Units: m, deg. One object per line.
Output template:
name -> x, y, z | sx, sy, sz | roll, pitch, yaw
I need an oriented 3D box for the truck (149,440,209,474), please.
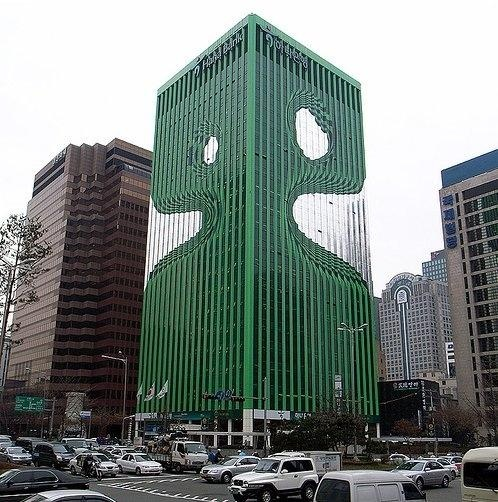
truck -> -5.413, 16.179, 42.541 | 2.138, 2.312, 5.893 | 19, -41, -33
